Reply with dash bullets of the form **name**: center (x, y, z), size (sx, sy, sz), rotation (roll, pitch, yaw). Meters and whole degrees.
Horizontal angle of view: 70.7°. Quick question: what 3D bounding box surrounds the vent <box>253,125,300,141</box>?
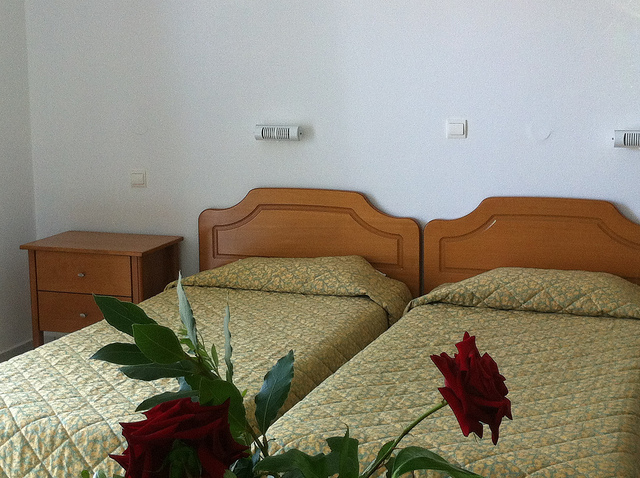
- **vent**: center (-0.288, -0.698, 3.043), size (0.354, 0.150, 0.114), rotation (1, 5, 9)

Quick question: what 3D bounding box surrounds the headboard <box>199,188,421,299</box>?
- **headboard**: center (-0.068, -0.051, 2.992), size (1.433, 0.725, 0.660), rotation (5, 10, 26)

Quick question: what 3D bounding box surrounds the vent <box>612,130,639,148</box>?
- **vent**: center (1.705, -0.567, 2.524), size (0.117, 0.096, 0.045), rotation (-1, 1, 25)
